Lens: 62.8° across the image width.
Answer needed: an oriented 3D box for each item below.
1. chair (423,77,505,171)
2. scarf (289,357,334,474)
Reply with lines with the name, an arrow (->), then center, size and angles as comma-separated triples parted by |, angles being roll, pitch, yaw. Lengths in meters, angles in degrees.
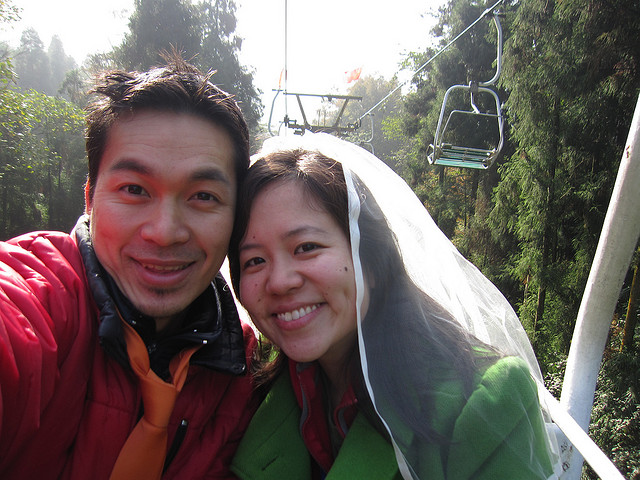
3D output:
chair -> 1.776, -1.565, 6.251 | 0.824, 1.391, 0.873 | 9, 9, 21
scarf -> -0.044, 0.939, 2.885 | 0.116, 0.590, 0.310 | -13, -18, 19
